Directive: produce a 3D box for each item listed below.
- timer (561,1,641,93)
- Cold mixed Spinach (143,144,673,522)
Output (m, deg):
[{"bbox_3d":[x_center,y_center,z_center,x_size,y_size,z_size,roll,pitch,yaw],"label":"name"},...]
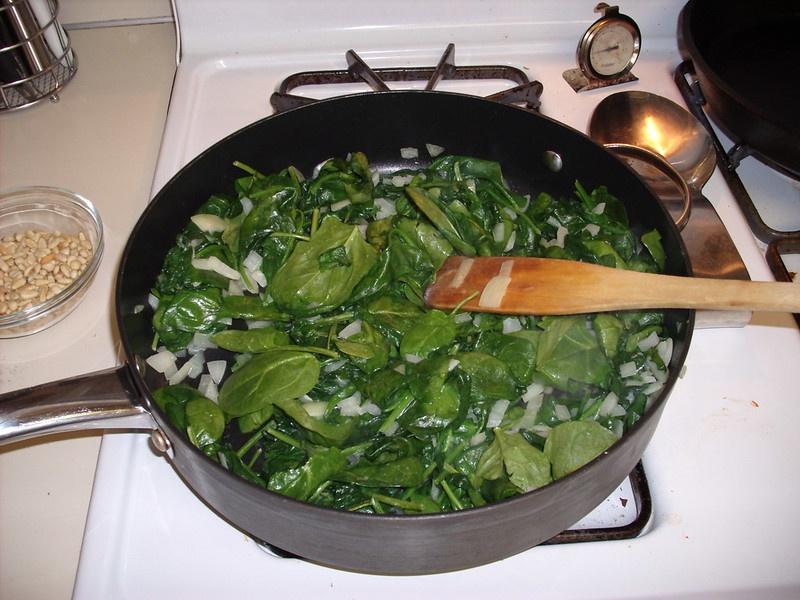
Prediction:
[{"bbox_3d":[0.603,-0.750,2.001,0.217,0.247,0.153,-14,38,-8],"label":"timer"},{"bbox_3d":[0.012,-0.130,2.088,1.522,0.772,1.575,-5,62,-3],"label":"Cold mixed Spinach"}]
